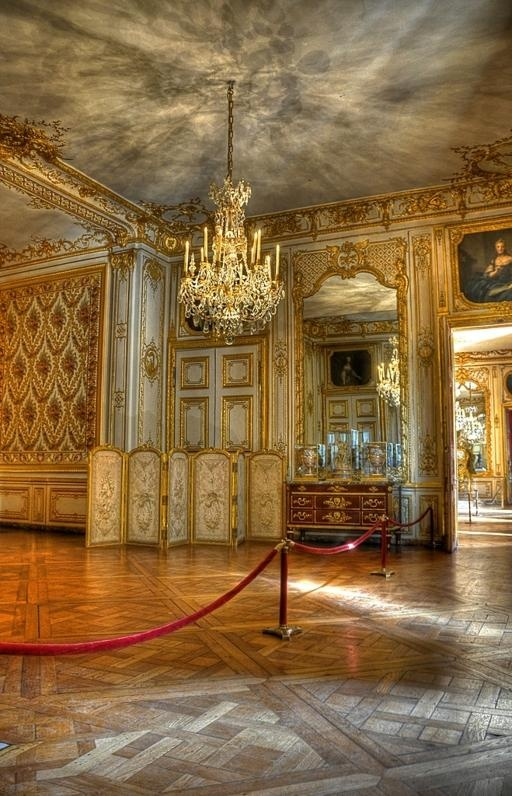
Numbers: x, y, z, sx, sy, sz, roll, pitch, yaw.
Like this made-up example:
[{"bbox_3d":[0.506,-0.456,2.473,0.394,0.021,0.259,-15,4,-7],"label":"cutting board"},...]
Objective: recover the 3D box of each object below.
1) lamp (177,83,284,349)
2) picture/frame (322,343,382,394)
[{"bbox_3d":[-0.193,-1.572,6.388,1.307,2.021,3.313,0,-5,-7],"label":"lamp"},{"bbox_3d":[1.242,-0.359,7.202,0.644,0.555,0.066,2,-1,22],"label":"picture/frame"}]
